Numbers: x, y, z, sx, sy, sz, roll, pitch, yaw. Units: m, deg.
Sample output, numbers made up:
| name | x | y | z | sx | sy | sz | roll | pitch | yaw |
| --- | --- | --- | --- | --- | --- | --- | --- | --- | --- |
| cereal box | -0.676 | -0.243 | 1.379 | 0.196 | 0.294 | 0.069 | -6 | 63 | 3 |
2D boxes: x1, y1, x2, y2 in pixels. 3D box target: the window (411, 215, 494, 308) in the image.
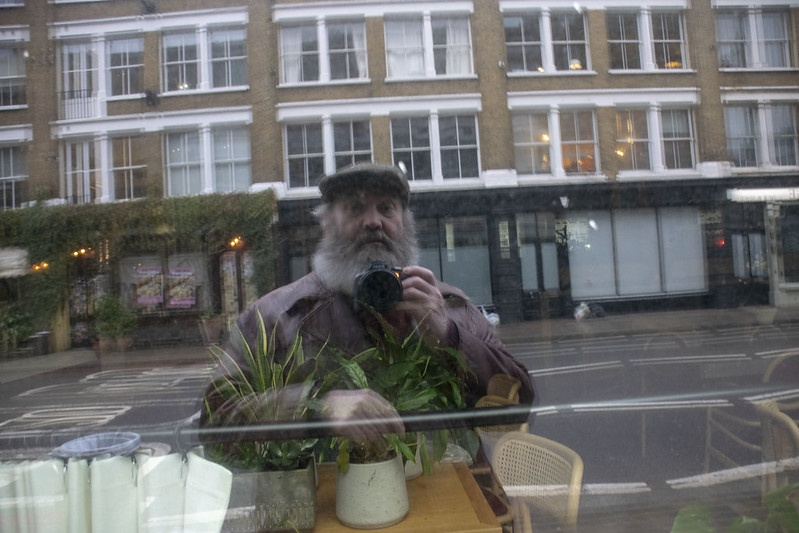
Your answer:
| name | x | y | z | sx | sy | sz | roll | pitch | yaw |
| --- | --- | --- | --- | --- | --- | --- | --- | --- | --- |
| window | 0.176 | -0.023 | 2.684 | 0.199 | 0.286 | 0.012 | 0 | 36 | 9 |

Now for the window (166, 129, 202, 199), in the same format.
| name | x | y | z | sx | sy | sz | roll | pitch | yaw |
| --- | --- | --- | --- | --- | --- | --- | --- | --- | --- |
| window | -0.653 | -0.312 | 2.632 | 0.111 | 0.221 | 0.016 | -4 | -14 | -7 |

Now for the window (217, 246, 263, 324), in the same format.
| name | x | y | z | sx | sy | sz | roll | pitch | yaw |
| --- | --- | --- | --- | --- | --- | --- | --- | --- | --- |
| window | -0.485 | 0.043 | 2.667 | 0.096 | 0.181 | 0.097 | -5 | 9 | -7 |

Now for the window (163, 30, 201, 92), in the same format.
| name | x | y | z | sx | sy | sz | roll | pitch | yaw |
| --- | --- | --- | --- | --- | --- | --- | --- | --- | --- |
| window | -0.668 | -0.633 | 2.648 | 0.119 | 0.124 | 0.026 | -4 | -2 | 3 |

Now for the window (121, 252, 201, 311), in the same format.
| name | x | y | z | sx | sy | sz | roll | pitch | yaw |
| --- | --- | --- | --- | --- | --- | --- | --- | --- | --- |
| window | -0.715 | 0.049 | 2.613 | 0.249 | 0.118 | 0.056 | -5 | -2 | 14 |

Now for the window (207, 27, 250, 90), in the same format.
| name | x | y | z | sx | sy | sz | roll | pitch | yaw |
| --- | --- | --- | --- | --- | --- | --- | --- | --- | --- |
| window | -0.521 | -0.639 | 2.639 | 0.112 | 0.170 | 0.012 | -1 | 2 | 12 |
